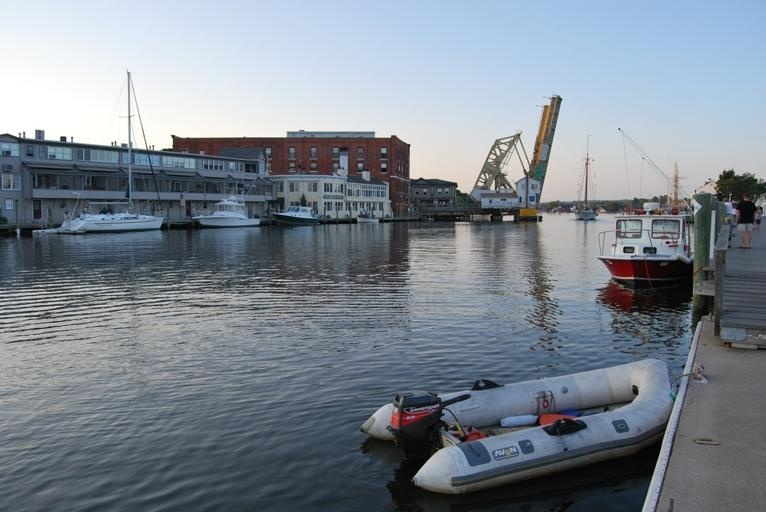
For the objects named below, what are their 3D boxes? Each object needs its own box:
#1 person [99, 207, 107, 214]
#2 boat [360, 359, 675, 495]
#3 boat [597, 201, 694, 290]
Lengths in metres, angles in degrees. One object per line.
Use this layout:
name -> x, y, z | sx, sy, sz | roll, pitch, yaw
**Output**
person -> -32.256, -5.218, 73.303 | 1.021, 0.705, 3.049 | -4, 6, -24
boat -> 2.877, 3.149, 11.813 | 4.259, 0.994, 2.671 | -5, 2, -17
boat -> 11.759, -0.511, 27.863 | 3.518, 3.548, 2.726 | -5, 7, -28
